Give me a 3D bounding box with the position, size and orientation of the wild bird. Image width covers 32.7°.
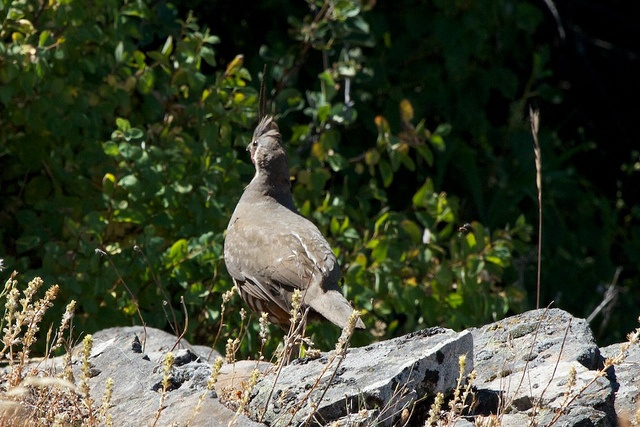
[{"bbox_3d":[-0.329,0.007,10.347,1.200,2.280,0.597,-13,-15,36],"label":"wild bird"}]
